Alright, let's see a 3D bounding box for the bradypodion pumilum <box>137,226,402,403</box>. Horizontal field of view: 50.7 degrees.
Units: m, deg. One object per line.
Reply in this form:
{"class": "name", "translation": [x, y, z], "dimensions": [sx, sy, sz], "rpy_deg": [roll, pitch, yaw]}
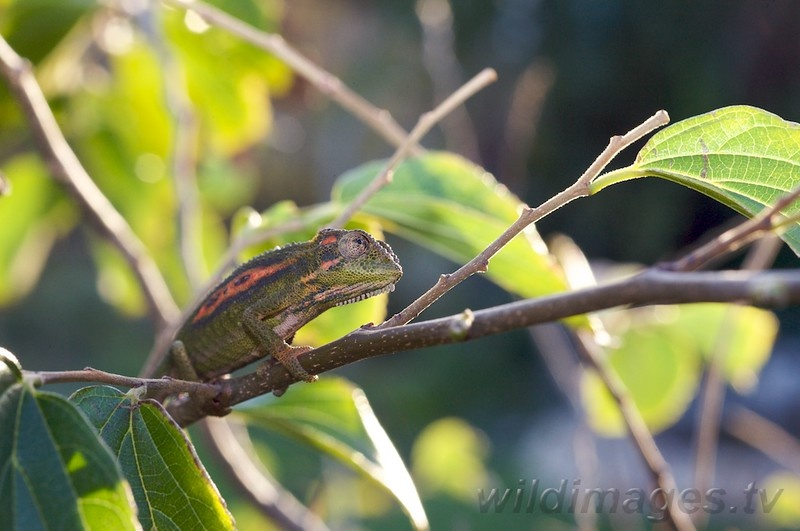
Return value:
{"class": "bradypodion pumilum", "translation": [-0.348, 0.162, 2.311], "dimensions": [0.748, 0.422, 0.211], "rpy_deg": [-18, -28, 34]}
